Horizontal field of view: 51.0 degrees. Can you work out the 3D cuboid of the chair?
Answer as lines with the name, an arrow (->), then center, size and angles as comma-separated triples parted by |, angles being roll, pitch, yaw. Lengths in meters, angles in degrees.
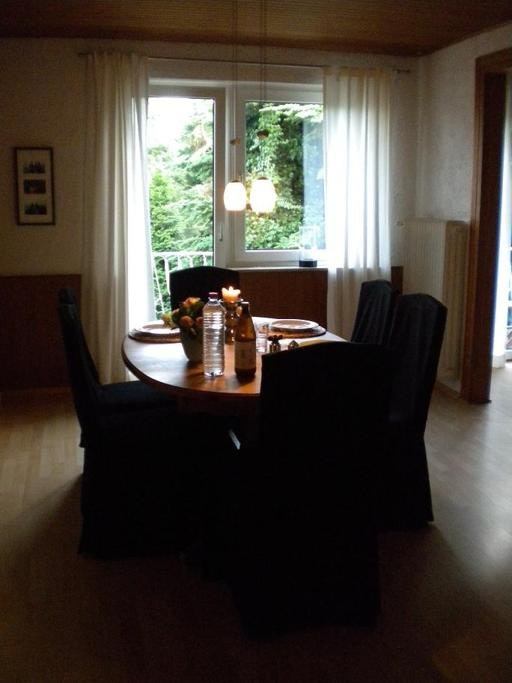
chair -> -0.092, 0.320, 1.947 | 0.833, 0.719, 1.353 | -4, 12, -10

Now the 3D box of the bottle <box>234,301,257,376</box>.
bottle -> -0.033, -0.001, 1.735 | 0.067, 0.241, 0.121 | 0, 7, -2

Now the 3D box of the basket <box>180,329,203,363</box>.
basket -> -0.222, 0.016, 1.955 | 0.085, 0.125, 0.098 | 1, 12, 1
